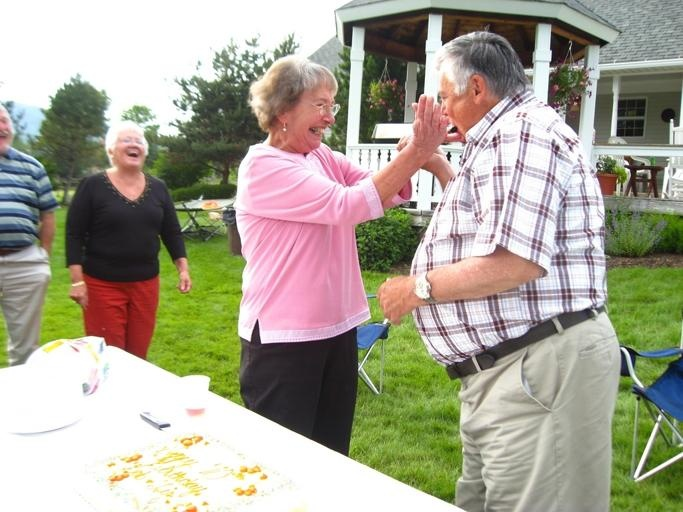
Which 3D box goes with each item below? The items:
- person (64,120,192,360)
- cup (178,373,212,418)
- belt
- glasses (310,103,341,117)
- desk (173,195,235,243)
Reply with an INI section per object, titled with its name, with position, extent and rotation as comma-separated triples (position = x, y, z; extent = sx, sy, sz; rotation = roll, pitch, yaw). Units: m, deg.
[person]
position = -1.676, -0.110, 4.273
extent = 0.368, 1.808, 0.879
rotation = 9, 10, 44
[cup]
position = -0.565, 0.545, 2.097
extent = 0.134, 0.142, 0.137
rotation = -2, -11, 0
[belt]
position = 0.740, 0.364, 2.300
extent = 0.423, 0.105, 0.381
rotation = -34, -6, 37
[glasses]
position = -0.098, -0.708, 2.603
extent = 0.099, 0.035, 0.098
rotation = 8, 8, 38
[desk]
position = -3.402, -0.890, 13.576
extent = 1.071, 0.538, 1.795
rotation = 1, 7, -1
